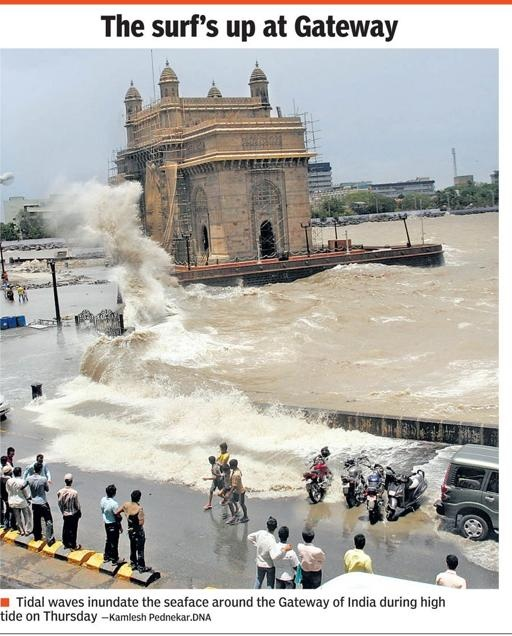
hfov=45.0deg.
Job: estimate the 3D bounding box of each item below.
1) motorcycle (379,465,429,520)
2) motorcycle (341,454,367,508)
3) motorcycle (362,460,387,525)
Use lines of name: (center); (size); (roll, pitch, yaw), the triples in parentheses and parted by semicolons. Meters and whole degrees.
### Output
motorcycle: (2.595, 2.912, 10.504); (0.464, 0.581, 1.068); (-8, -2, 38)
motorcycle: (1.816, 2.883, 11.198); (0.405, 0.482, 0.839); (-14, 17, 19)
motorcycle: (2.070, 2.932, 10.413); (0.408, 0.467, 0.805); (0, 23, 9)
